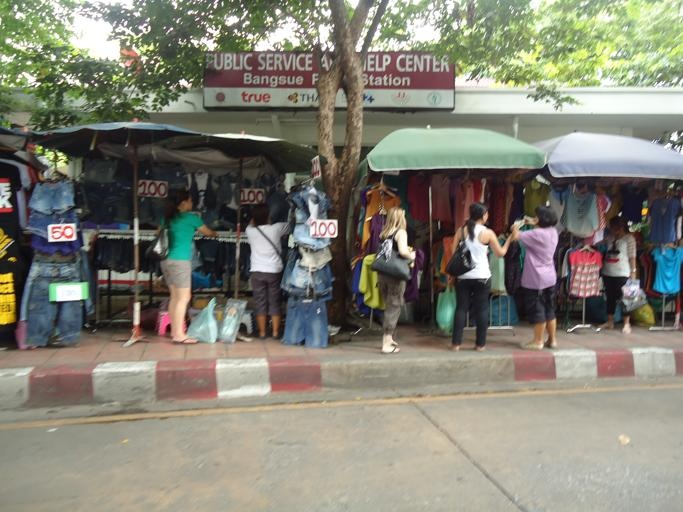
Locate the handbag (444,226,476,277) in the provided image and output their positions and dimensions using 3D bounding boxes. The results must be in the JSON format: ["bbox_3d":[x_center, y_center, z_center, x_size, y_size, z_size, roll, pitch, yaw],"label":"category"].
[{"bbox_3d":[1.632,-0.033,7.079,0.265,0.743,0.619,10,-15,-22],"label":"handbag"}]

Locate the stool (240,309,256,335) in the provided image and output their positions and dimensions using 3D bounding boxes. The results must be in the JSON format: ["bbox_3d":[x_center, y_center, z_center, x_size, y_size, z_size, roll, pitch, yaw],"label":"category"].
[{"bbox_3d":[-1.431,1.039,7.871,0.308,0.380,0.276,-1,1,11],"label":"stool"}]

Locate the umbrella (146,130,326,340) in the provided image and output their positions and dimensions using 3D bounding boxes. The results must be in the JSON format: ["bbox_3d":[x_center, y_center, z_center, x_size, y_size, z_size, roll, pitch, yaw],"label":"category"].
[{"bbox_3d":[-1.511,-0.162,8.292,2.904,3.041,2.872,1,-4,-28],"label":"umbrella"}]

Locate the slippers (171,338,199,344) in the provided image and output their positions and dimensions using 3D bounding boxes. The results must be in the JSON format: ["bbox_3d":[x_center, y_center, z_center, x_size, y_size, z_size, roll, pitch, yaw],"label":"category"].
[{"bbox_3d":[-2.176,1.168,7.163,0.296,0.075,0.121,-1,-1,2],"label":"slippers"}]

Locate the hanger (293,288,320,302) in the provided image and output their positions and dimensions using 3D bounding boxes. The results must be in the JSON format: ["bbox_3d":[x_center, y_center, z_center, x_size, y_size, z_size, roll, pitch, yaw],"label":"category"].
[{"bbox_3d":[-0.505,0.551,7.187,0.283,0.113,0.205,1,-2,-2],"label":"hanger"}]

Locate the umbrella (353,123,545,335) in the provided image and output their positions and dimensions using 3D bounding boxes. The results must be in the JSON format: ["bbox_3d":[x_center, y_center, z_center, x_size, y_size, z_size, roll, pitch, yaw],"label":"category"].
[{"bbox_3d":[1.615,-0.361,7.687,3.154,2.644,2.476,0,5,-3],"label":"umbrella"}]

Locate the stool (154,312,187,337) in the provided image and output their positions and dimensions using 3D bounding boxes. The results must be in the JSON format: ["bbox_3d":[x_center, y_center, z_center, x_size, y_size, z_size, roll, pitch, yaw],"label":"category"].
[{"bbox_3d":[-2.705,1.038,7.855,0.261,0.154,0.376,30,-10,-32],"label":"stool"}]

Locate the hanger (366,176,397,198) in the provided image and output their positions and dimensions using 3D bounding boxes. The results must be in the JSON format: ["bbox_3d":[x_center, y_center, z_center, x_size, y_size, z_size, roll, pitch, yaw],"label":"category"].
[{"bbox_3d":[0.587,-1.041,7.864,0.356,0.162,0.472,3,-8,1],"label":"hanger"}]

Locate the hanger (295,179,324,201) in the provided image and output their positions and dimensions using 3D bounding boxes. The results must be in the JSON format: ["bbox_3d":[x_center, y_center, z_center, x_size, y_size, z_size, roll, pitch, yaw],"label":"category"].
[{"bbox_3d":[-0.449,-0.903,7.194,0.470,0.314,0.236,9,14,42],"label":"hanger"}]

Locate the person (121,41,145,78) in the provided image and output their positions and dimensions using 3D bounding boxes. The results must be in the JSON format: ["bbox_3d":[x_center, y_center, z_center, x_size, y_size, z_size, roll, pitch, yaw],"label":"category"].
[{"bbox_3d":[-3.866,-3.524,9.451,0.355,0.559,0.727,-7,12,-32],"label":"person"}]

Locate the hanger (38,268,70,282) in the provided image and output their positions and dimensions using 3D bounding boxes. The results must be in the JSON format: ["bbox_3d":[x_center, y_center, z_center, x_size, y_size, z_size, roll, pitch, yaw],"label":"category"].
[{"bbox_3d":[-3.814,0.261,6.833,0.336,0.173,0.046,-2,10,-12],"label":"hanger"}]

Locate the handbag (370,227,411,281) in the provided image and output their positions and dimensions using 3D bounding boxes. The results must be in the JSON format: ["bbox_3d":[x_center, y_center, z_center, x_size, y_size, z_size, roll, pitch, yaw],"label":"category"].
[{"bbox_3d":[0.645,0.004,6.816,0.553,0.717,0.240,14,-16,12],"label":"handbag"}]

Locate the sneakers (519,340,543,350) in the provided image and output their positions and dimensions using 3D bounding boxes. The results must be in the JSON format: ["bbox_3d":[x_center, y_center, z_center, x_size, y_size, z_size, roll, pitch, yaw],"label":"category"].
[{"bbox_3d":[2.617,1.230,7.126,0.261,0.113,0.124,3,-3,12],"label":"sneakers"}]

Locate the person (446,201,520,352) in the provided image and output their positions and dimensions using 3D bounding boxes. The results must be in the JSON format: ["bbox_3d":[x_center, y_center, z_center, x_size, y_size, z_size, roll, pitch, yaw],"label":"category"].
[{"bbox_3d":[1.810,0.307,7.005,0.691,2.000,0.564,2,10,11],"label":"person"}]

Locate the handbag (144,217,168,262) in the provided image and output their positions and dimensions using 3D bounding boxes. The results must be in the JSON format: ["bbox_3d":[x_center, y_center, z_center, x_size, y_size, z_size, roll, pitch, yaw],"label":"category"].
[{"bbox_3d":[-2.737,-0.228,7.613,0.300,0.688,0.589,10,3,-10],"label":"handbag"}]

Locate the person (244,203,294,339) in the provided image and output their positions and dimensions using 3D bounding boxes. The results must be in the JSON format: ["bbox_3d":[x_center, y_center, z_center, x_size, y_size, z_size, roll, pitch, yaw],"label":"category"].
[{"bbox_3d":[-1.071,0.228,7.546,0.589,1.955,0.341,-2,10,-11],"label":"person"}]
